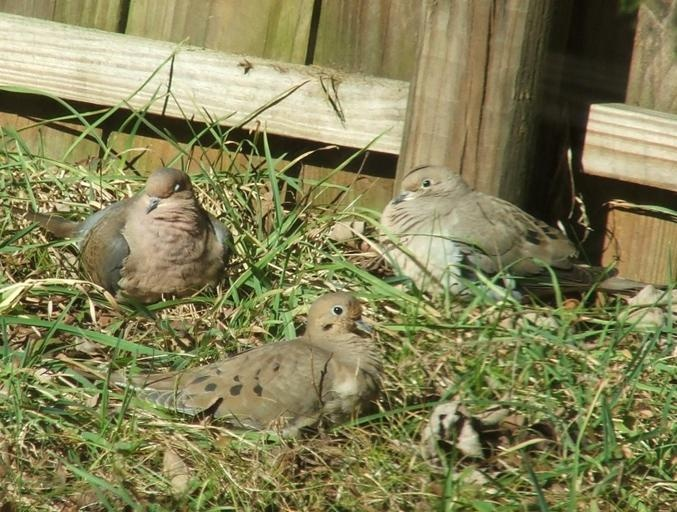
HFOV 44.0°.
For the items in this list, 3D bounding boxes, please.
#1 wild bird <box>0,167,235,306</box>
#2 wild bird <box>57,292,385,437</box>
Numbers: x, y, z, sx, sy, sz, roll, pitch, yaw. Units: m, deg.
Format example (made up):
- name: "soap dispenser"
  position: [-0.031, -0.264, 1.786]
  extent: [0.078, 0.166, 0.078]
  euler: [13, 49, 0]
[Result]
- name: "wild bird"
  position: [-1.300, -0.151, 5.342]
  extent: [0.930, 0.844, 1.514]
  euler: [-19, 28, -37]
- name: "wild bird"
  position: [-0.588, 0.509, 4.161]
  extent: [1.658, 0.701, 0.531]
  euler: [1, 20, -7]
